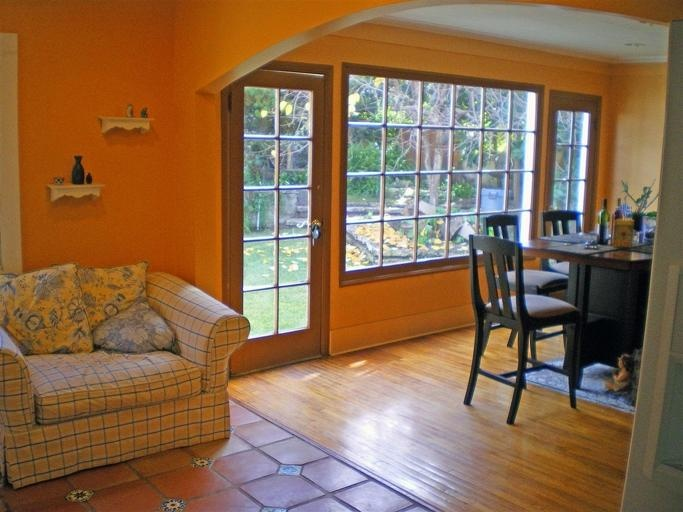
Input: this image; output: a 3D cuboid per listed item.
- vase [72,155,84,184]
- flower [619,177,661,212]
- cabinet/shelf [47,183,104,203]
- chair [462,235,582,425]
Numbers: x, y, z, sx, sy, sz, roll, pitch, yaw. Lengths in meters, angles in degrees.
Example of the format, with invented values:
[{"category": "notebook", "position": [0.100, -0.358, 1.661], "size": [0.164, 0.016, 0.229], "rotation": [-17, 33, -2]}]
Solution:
[{"category": "vase", "position": [-1.874, -0.611, 4.042], "size": [0.082, 0.200, 0.111], "rotation": [-4, 15, -21]}, {"category": "flower", "position": [3.158, -0.573, 6.081], "size": [0.285, 0.246, 0.239], "rotation": [-6, 0, 14]}, {"category": "cabinet/shelf", "position": [-1.897, -0.457, 4.066], "size": [0.351, 0.129, 0.147], "rotation": [-4, 15, -26]}, {"category": "chair", "position": [1.463, 0.397, 4.598], "size": [0.875, 1.297, 1.723], "rotation": [6, 14, 16]}]
